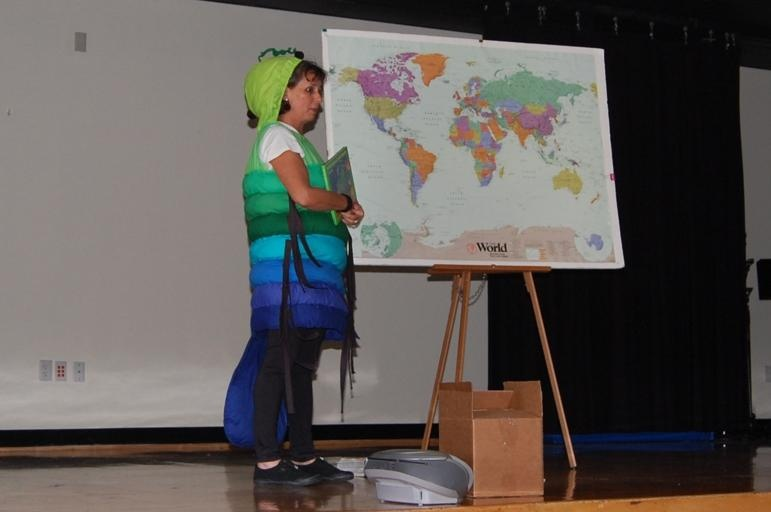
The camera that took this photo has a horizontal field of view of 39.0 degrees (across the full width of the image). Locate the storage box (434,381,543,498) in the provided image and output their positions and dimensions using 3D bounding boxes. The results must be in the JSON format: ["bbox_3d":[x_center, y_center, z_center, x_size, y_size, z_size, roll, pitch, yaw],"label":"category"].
[{"bbox_3d":[0.725,1.031,6.330,0.503,0.548,0.499,0,-6,-25],"label":"storage box"}]

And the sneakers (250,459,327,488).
[{"bbox_3d":[-0.560,1.252,6.278,0.361,0.152,0.147,2,-5,-5],"label":"sneakers"}]

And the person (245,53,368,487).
[{"bbox_3d":[-0.513,0.043,6.338,0.752,2.536,0.585,2,-9,-9],"label":"person"}]

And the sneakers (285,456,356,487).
[{"bbox_3d":[-0.355,1.245,6.304,0.337,0.134,0.146,4,-4,-9],"label":"sneakers"}]

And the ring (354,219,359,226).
[{"bbox_3d":[-0.163,-0.199,6.338,0.026,0.012,0.036,-22,-8,-6],"label":"ring"}]

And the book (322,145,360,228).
[{"bbox_3d":[-0.256,-0.389,6.390,0.041,0.304,0.424,-5,35,18],"label":"book"}]

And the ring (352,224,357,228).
[{"bbox_3d":[-0.172,-0.176,6.413,0.020,0.019,0.031,-7,-27,-11],"label":"ring"}]
